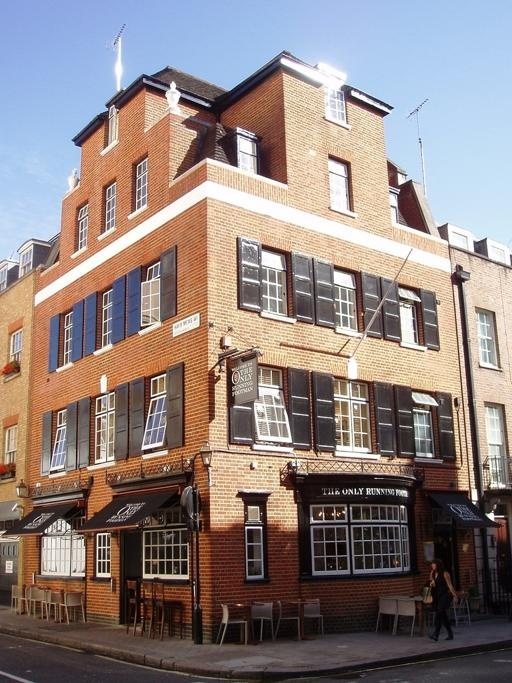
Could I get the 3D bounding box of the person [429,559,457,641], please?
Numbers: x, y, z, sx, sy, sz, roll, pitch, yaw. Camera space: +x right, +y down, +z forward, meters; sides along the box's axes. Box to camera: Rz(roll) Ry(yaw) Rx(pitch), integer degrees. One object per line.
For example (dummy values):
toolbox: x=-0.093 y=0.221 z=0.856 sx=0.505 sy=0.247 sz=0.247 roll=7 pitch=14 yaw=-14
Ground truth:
person: x=3.671 y=5.091 z=14.016 sx=0.501 sy=1.484 sz=0.865 roll=-6 pitch=-17 yaw=12

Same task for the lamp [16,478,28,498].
lamp: x=-7.467 y=4.699 z=22.810 sx=0.367 sy=0.607 sz=1.151 roll=4 pitch=-17 yaw=-17

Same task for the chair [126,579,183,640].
chair: x=-2.107 y=5.710 z=15.138 sx=0.494 sy=0.926 sz=1.461 roll=5 pitch=-14 yaw=-28
